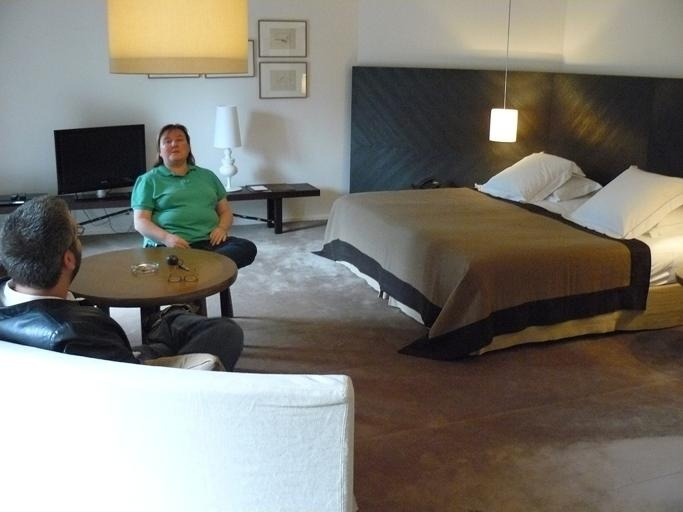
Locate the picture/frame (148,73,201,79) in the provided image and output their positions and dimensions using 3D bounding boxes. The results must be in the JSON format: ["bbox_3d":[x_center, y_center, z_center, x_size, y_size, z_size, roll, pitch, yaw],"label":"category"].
[{"bbox_3d":[-1.625,-1.749,5.448,0.442,0.039,0.326,-16,25,-41],"label":"picture/frame"}]

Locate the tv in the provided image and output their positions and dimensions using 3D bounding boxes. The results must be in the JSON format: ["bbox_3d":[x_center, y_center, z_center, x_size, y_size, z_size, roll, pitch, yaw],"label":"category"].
[{"bbox_3d":[-2.204,-0.854,5.064,0.961,0.716,0.249,-11,17,-33],"label":"tv"}]

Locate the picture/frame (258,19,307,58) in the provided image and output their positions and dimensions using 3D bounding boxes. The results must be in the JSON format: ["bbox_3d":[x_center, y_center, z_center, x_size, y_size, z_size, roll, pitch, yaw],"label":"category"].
[{"bbox_3d":[-0.620,-2.232,5.681,0.407,0.297,0.017,-2,19,-15],"label":"picture/frame"}]

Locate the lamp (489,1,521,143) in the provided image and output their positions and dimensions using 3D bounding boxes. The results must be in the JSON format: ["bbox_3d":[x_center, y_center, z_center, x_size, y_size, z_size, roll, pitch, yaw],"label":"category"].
[{"bbox_3d":[1.778,-1.789,5.975,0.318,1.199,0.887,6,19,15],"label":"lamp"}]

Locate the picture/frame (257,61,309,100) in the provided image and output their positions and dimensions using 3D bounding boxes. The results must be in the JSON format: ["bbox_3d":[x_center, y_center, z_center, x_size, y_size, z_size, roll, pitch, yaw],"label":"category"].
[{"bbox_3d":[-0.624,-1.837,5.778,0.407,0.309,0.029,-4,18,-20],"label":"picture/frame"}]

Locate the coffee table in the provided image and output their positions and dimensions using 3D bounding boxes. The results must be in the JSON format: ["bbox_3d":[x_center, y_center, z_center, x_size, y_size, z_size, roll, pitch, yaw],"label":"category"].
[{"bbox_3d":[-0.976,0.121,2.863,0.604,0.284,0.613,7,20,13],"label":"coffee table"}]
